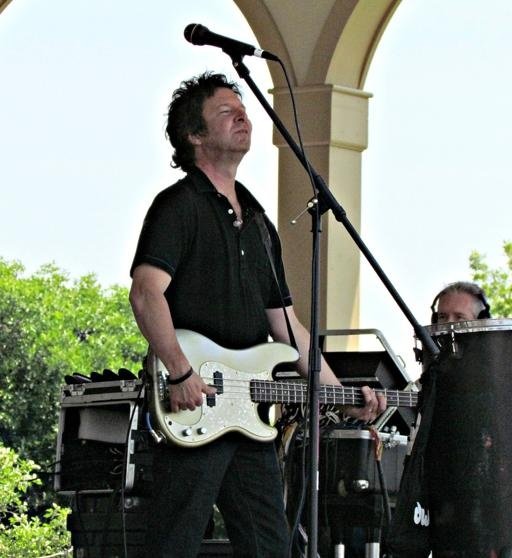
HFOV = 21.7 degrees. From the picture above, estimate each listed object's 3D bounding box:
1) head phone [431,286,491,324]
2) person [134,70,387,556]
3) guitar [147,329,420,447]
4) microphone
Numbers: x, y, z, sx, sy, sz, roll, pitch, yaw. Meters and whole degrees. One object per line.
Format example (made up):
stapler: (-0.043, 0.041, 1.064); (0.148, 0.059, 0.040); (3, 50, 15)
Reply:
head phone: (0.965, 0.113, 6.341); (0.285, 0.195, 0.150); (2, 1, 35)
person: (-0.017, 0.116, 5.326); (0.730, 1.993, 0.845); (5, -6, -45)
guitar: (-0.113, 0.440, 5.230); (0.646, 0.446, 0.169); (5, -18, -19)
microphone: (-0.091, -0.946, 5.394); (0.417, 0.097, 0.121); (21, -60, 0)
